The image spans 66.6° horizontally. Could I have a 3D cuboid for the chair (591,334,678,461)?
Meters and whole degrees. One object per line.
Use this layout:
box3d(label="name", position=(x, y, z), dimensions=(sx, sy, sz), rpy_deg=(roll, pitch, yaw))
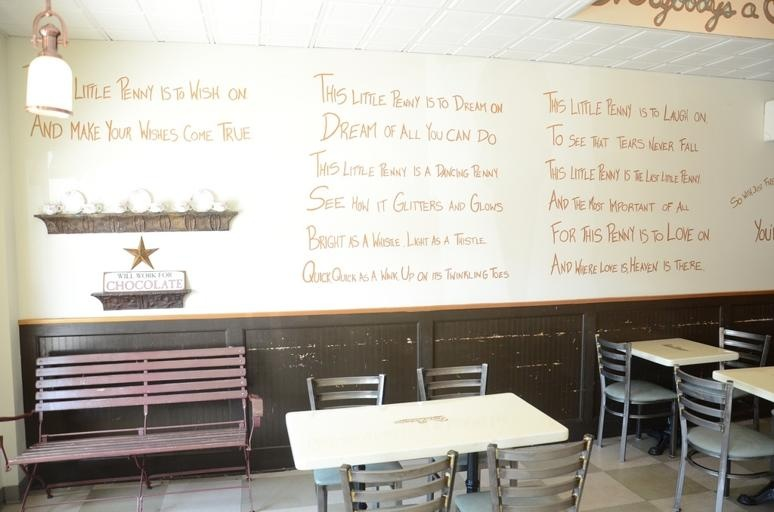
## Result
box3d(label="chair", position=(2.652, 1.483, 6.286), dimensions=(0.994, 1.169, 1.005), rpy_deg=(1, 1, 38))

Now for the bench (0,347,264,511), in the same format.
box3d(label="bench", position=(-2.450, 1.604, 5.435), dimensions=(1.505, 0.889, 0.606), rpy_deg=(-2, 6, -12))

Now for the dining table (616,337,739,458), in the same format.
box3d(label="dining table", position=(3.128, 1.343, 6.463), dimensions=(1.240, 1.085, 1.181), rpy_deg=(-5, 9, -25))
